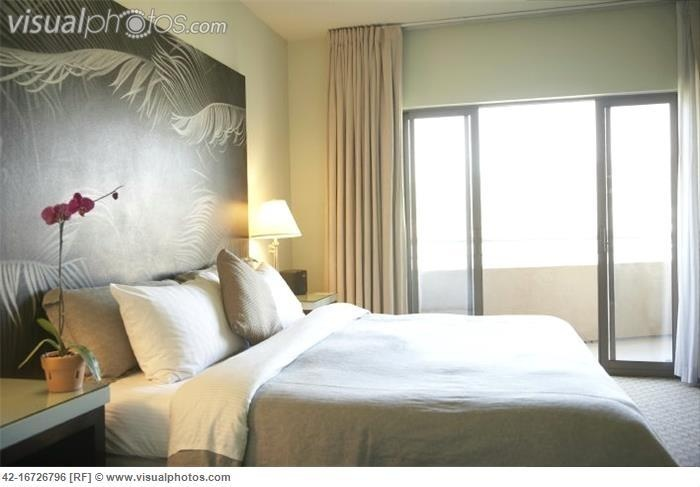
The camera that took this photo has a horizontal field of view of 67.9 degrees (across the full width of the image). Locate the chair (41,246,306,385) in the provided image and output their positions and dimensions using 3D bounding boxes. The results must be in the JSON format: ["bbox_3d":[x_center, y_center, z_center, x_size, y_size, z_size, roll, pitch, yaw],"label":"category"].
[{"bbox_3d":[-1.080,0.413,2.944,0.539,0.615,1.430,7,12,33],"label":"chair"}]

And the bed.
[{"bbox_3d":[0.225,0.796,2.936,2.548,0.531,1.228,1,6,7],"label":"bed"}]

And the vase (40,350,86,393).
[{"bbox_3d":[-1.370,0.617,2.512,0.199,0.165,0.213,-6,-4,41],"label":"vase"}]
